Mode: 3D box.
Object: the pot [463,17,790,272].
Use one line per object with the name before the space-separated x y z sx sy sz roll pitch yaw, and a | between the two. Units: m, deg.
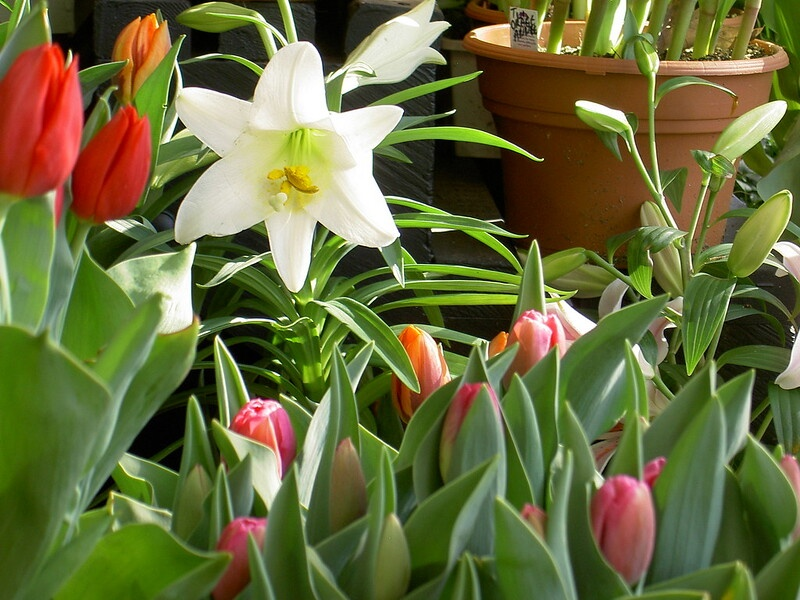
pot | 0.332 -0.224 1.013 0.359 0.289 0.376 0 14 0
